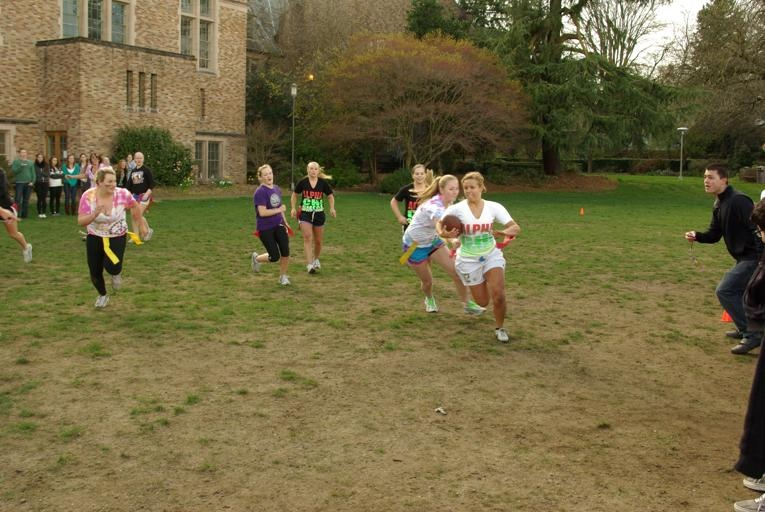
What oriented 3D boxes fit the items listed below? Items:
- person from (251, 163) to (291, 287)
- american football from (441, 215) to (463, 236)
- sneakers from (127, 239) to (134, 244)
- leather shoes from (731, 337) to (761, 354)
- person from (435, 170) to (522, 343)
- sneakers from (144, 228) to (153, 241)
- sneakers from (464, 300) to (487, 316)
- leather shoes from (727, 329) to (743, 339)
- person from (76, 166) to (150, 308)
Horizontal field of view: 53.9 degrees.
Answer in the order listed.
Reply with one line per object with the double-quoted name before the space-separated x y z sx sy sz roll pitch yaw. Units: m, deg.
"person" -2.218 -0.616 14.747 0.725 2.345 1.305 -3 13 -10
"american football" 1.076 -0.482 11.677 0.331 0.291 0.189 1 12 6
"sneakers" -6.559 -0.391 19.565 0.132 0.132 0.228 3 -7 -14
"leather shoes" 5.511 1.359 11.517 0.569 0.194 0.180 -14 10 -9
"person" 1.585 -0.065 12.128 1.116 2.609 1.489 2 12 9
"sneakers" -5.795 -0.526 18.551 0.146 0.153 0.337 17 39 -14
"sneakers" 1.560 0.900 12.971 0.464 0.212 0.174 4 5 25
"leather shoes" 5.658 1.244 12.096 0.116 0.076 0.222 -4 7 -31
"person" -4.625 -0.298 12.734 0.891 2.400 1.151 -4 13 -18
